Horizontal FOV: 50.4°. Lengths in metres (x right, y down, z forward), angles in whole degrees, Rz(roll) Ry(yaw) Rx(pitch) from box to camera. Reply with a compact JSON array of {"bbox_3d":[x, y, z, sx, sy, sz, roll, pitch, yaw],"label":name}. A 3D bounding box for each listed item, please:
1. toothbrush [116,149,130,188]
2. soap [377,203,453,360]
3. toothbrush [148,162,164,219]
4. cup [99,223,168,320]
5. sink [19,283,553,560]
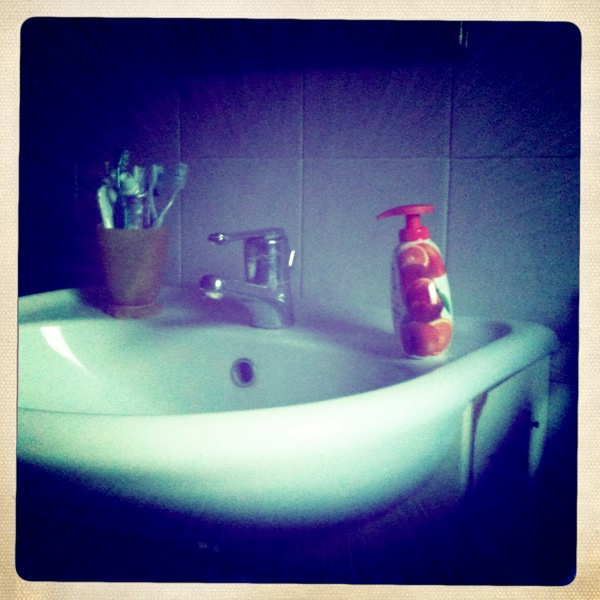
[{"bbox_3d":[-0.269,-0.200,0.966,0.020,0.052,0.021,6,-2,-26],"label":"toothbrush"},{"bbox_3d":[0.156,-0.029,0.910,0.113,0.208,0.146,2,6,9],"label":"soap"},{"bbox_3d":[-0.222,-0.167,0.976,0.016,0.083,0.022,5,12,28],"label":"toothbrush"},{"bbox_3d":[-0.268,-0.042,1.014,0.126,0.124,0.116,0,5,0],"label":"cup"},{"bbox_3d":[-0.017,0.155,0.900,0.743,0.323,0.405,-2,10,-12],"label":"sink"}]
